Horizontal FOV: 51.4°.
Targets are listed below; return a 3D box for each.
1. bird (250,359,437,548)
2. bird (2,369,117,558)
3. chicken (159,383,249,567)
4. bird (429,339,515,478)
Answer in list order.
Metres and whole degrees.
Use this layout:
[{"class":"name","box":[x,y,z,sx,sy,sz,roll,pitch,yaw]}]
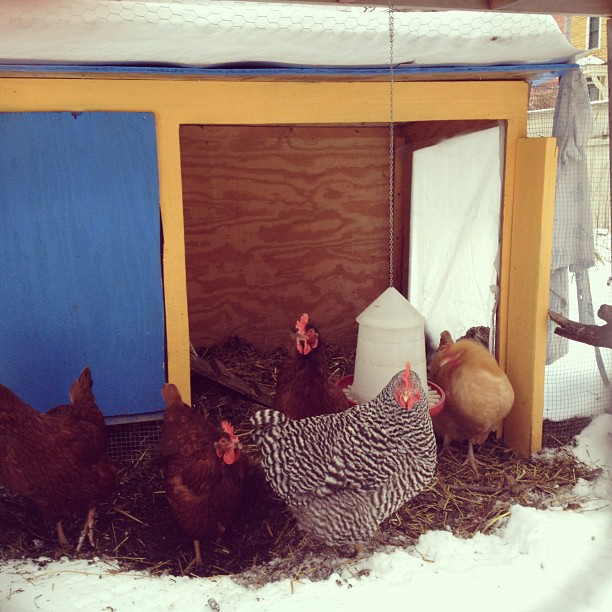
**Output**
[{"class":"bird","box":[0.302,0.768,3.133,0.999,0.835,0.583,-14,6,17]},{"class":"bird","box":[-1.226,0.732,3.185,0.489,0.876,0.570,-7,19,-14]},{"class":"chicken","box":[-0.517,0.853,3.280,0.429,0.613,0.611,-7,18,-14]},{"class":"bird","box":[0.996,0.610,3.882,0.394,0.700,0.555,-3,18,-4]}]
